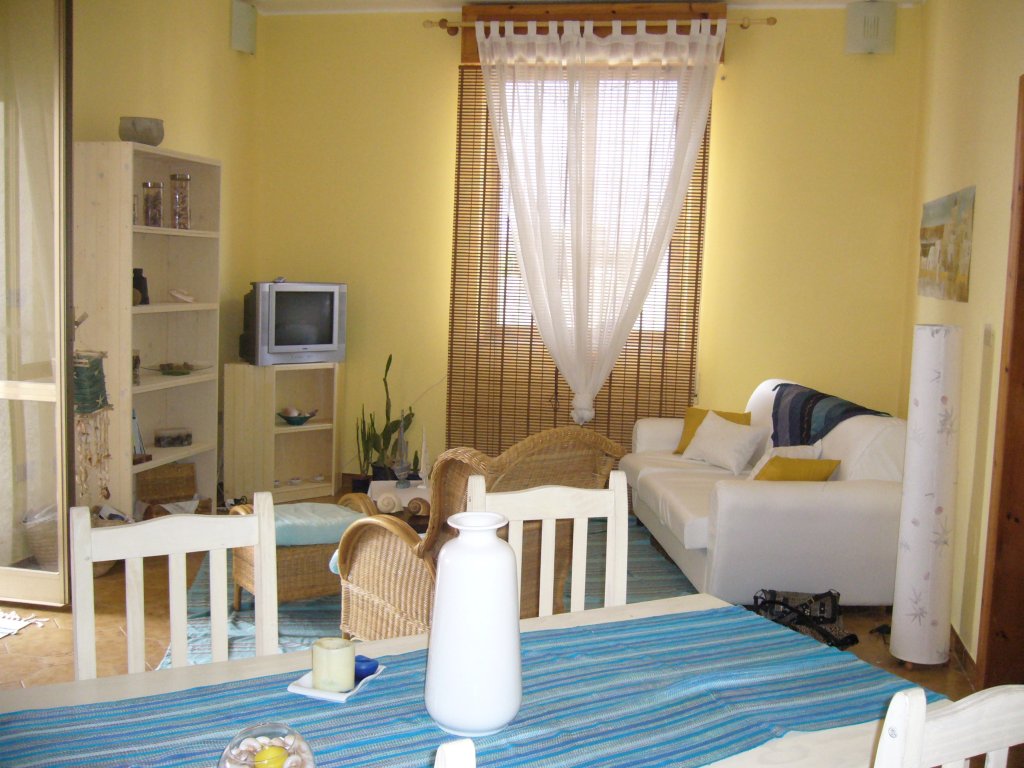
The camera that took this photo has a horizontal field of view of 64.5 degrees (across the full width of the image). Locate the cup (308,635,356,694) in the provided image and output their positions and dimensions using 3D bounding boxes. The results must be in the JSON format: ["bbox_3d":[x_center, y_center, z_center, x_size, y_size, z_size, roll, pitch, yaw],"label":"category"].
[{"bbox_3d":[-0.349,0.557,1.653,0.094,0.093,0.098,2,7,0],"label":"cup"}]

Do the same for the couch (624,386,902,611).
[{"bbox_3d":[1.305,0.272,4.084,0.927,0.819,1.521,1,2,-2],"label":"couch"}]

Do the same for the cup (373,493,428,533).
[{"bbox_3d":[-0.627,0.685,4.377,0.334,0.138,0.234,4,3,37],"label":"cup"}]

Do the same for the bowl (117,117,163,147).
[{"bbox_3d":[-2.032,-1.382,4.485,0.201,0.132,0.221,8,11,31],"label":"bowl"}]

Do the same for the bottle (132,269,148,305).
[{"bbox_3d":[-2.076,-0.544,4.528,0.077,0.191,0.337,-4,12,-24],"label":"bottle"}]

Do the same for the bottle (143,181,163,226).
[{"bbox_3d":[-2.095,-1.053,4.738,0.121,0.256,0.441,-4,12,-24],"label":"bottle"}]

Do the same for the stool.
[{"bbox_3d":[-0.928,0.822,4.083,0.715,0.463,0.521,-3,-1,21],"label":"stool"}]

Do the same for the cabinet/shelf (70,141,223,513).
[{"bbox_3d":[-2.072,-0.273,4.682,0.544,2.102,1.529,1,11,-2],"label":"cabinet/shelf"}]

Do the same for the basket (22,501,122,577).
[{"bbox_3d":[-2.084,0.735,3.915,0.386,0.267,0.308,-2,-3,10],"label":"basket"}]

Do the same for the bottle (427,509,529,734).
[{"bbox_3d":[-0.067,0.438,1.534,0.186,0.371,0.202,2,11,0],"label":"bottle"}]

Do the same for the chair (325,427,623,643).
[{"bbox_3d":[-0.253,0.694,3.307,0.953,0.931,0.862,5,-6,-2],"label":"chair"}]

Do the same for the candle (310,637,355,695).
[{"bbox_3d":[-0.351,0.555,1.649,0.101,0.095,0.096,4,5,21],"label":"candle"}]
